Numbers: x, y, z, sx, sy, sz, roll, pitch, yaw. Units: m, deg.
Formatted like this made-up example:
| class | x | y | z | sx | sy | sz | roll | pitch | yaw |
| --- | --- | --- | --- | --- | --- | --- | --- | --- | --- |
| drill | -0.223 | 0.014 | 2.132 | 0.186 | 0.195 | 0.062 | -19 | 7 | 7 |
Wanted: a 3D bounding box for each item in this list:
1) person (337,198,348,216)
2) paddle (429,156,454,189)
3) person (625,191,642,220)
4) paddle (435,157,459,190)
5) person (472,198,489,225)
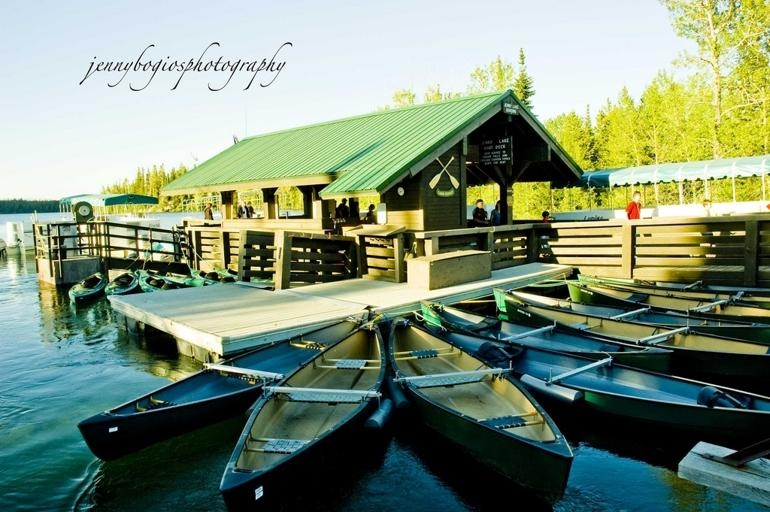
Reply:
| class | x | y | z | sx | sy | sz | roll | pitch | yaw |
| --- | --- | --- | --- | --- | --- | --- | --- | --- | --- |
| person | -1.638 | -1.850 | 23.620 | 0.464 | 0.663 | 1.209 | -3 | 3 | -4 |
| paddle | 1.653 | -2.500 | 17.594 | 0.949 | 0.719 | 0.014 | -25 | 11 | -24 |
| person | 8.094 | -1.668 | 19.281 | 0.352 | 0.889 | 0.845 | -2 | 3 | 18 |
| paddle | 1.973 | -2.458 | 17.851 | 0.018 | 0.825 | 0.911 | 3 | 24 | 46 |
| person | 3.194 | -1.432 | 19.708 | 0.527 | 0.866 | 1.088 | -2 | 3 | 8 |
